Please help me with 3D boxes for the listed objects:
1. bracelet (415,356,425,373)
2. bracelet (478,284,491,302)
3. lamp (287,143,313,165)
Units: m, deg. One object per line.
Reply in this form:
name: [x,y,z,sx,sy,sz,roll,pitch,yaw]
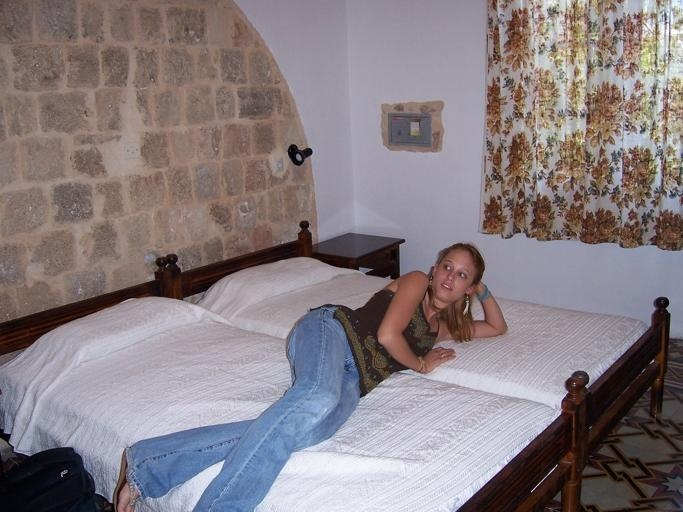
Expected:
bracelet: [0.410,0.564,2.800,0.072,0.027,0.055,23,-17,37]
bracelet: [0.821,0.218,3.113,0.069,0.088,0.034,52,10,24]
lamp: [-0.366,-0.868,4.630,0.198,0.185,0.229,-2,13,-2]
